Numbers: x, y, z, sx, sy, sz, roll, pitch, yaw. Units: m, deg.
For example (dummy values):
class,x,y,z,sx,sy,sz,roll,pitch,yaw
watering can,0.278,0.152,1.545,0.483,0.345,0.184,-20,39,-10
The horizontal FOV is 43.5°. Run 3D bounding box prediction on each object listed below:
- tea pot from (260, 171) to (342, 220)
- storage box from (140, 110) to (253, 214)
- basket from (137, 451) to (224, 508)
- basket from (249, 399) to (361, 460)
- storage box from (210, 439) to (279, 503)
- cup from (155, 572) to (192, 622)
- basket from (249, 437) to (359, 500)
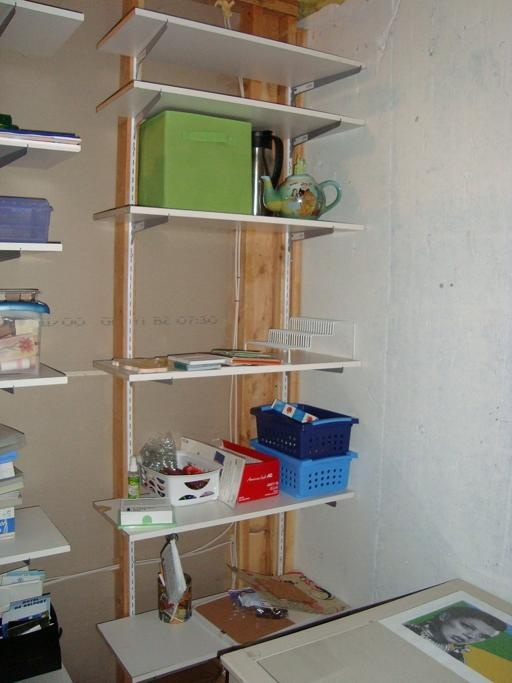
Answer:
class,x,y,z,sx,sy,sz,roll,pitch,yaw
tea pot,0.145,-0.433,1.981,0.227,0.126,0.149,0,6,-20
storage box,-0.157,-0.450,1.853,0.306,0.276,0.300,0,0,-36
basket,-0.214,0.408,1.907,0.128,0.062,0.180,4,1,-33
basket,0.172,0.282,2.117,0.256,0.179,0.311,-3,13,-32
storage box,-0.067,0.416,2.073,0.160,0.132,0.294,3,1,-30
cup,-0.242,0.796,1.982,0.123,0.133,0.122,0,-2,0
basket,0.172,0.440,2.140,0.216,0.122,0.308,-1,-6,-23
